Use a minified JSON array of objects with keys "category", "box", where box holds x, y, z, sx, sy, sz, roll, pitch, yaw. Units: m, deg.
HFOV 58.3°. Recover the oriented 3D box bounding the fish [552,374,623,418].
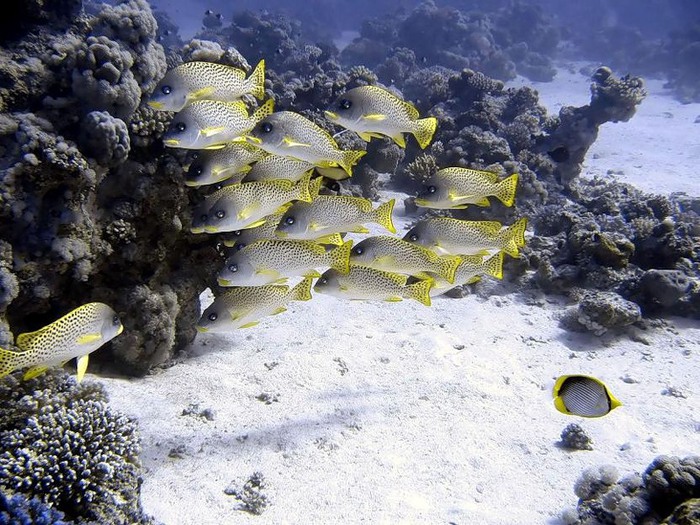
[{"category":"fish","box":[3.269,1.873,8.678,0.129,1.049,0.587,8,80,-41]}]
